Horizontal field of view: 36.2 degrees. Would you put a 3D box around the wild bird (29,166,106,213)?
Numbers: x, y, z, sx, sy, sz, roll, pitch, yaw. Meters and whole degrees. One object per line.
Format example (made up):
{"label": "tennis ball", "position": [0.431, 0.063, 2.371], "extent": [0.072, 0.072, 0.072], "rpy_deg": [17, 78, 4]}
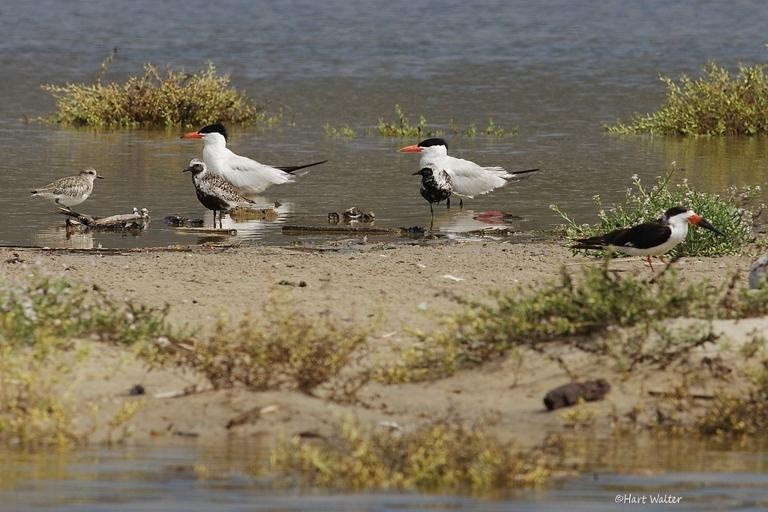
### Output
{"label": "wild bird", "position": [-6.411, -1.339, 23.347], "extent": [1.590, 0.720, 0.690], "rpy_deg": [-6, 15, -36]}

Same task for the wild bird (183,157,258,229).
{"label": "wild bird", "position": [-3.261, -1.242, 22.855], "extent": [1.046, 1.294, 1.293], "rpy_deg": [-2, 12, -7]}
